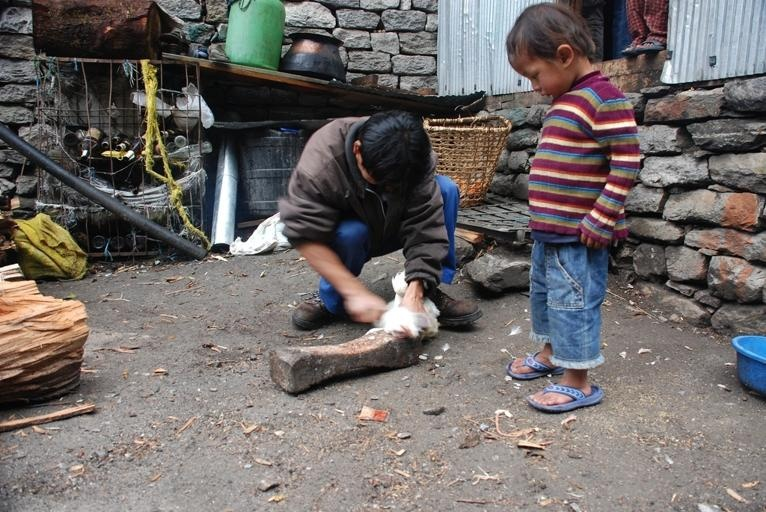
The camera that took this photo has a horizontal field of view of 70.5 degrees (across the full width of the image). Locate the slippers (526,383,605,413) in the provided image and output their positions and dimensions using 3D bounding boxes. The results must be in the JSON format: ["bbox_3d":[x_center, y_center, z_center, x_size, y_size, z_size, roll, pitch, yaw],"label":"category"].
[{"bbox_3d":[1.007,0.773,2.966,0.331,0.083,0.171,-1,12,-4],"label":"slippers"}]

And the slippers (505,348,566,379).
[{"bbox_3d":[0.904,0.649,3.231,0.291,0.073,0.148,1,21,6],"label":"slippers"}]

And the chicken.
[{"bbox_3d":[0.153,0.395,3.509,0.418,0.467,0.357,1,-3,-10],"label":"chicken"}]

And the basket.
[{"bbox_3d":[0.627,-0.908,5.400,1.110,0.751,1.049,-11,13,-30],"label":"basket"}]

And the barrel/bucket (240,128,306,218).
[{"bbox_3d":[-1.198,-0.940,6.381,0.925,0.888,0.938,-5,6,1],"label":"barrel/bucket"}]

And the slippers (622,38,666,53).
[{"bbox_3d":[2.070,-1.619,4.156,0.291,0.087,0.201,-14,18,-25],"label":"slippers"}]
